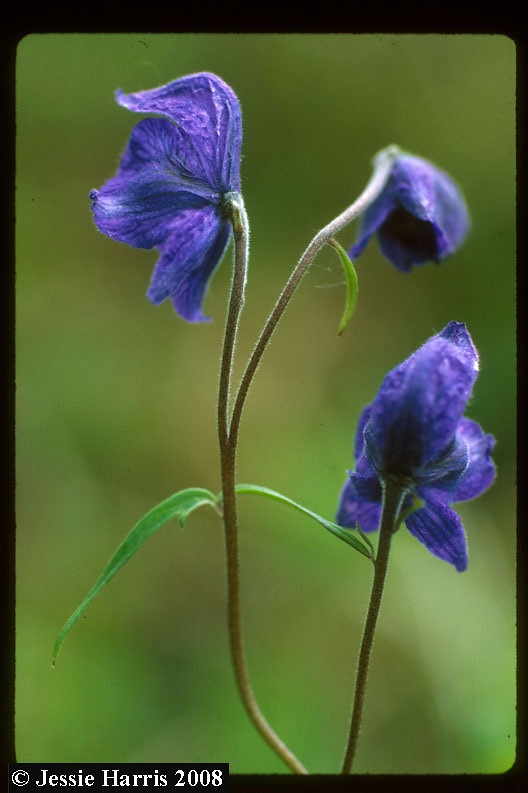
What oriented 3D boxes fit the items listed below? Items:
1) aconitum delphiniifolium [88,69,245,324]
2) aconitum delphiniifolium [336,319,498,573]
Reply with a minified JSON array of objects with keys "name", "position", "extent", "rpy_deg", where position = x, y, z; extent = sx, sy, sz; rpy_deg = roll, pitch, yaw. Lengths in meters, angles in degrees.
[{"name":"aconitum delphiniifolium","position":[-0.144,-0.329,1.298],"extent":[0.221,0.294,0.197],"rpy_deg":[27,41,14]},{"name":"aconitum delphiniifolium","position":[0.211,0.065,1.212],"extent":[0.197,0.199,0.315],"rpy_deg":[4,43,25]}]
